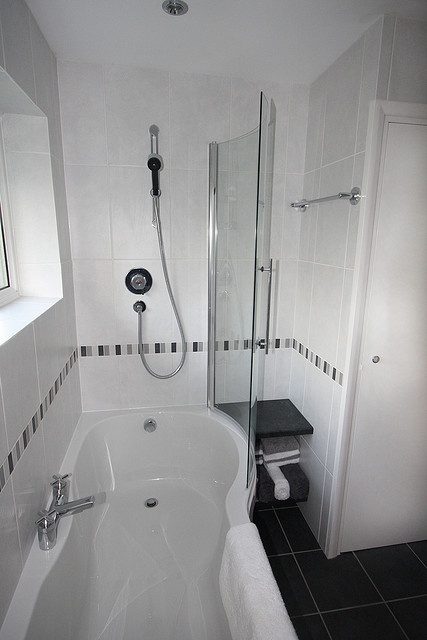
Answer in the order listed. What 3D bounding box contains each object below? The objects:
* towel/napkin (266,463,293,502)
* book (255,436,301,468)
[{"bbox_3d":[0.349,0.869,2.184,0.115,0.065,0.137,-2,0,14],"label":"towel/napkin"},{"bbox_3d":[0.359,0.743,2.307,0.183,0.098,0.223,-1,0,-7],"label":"book"}]
